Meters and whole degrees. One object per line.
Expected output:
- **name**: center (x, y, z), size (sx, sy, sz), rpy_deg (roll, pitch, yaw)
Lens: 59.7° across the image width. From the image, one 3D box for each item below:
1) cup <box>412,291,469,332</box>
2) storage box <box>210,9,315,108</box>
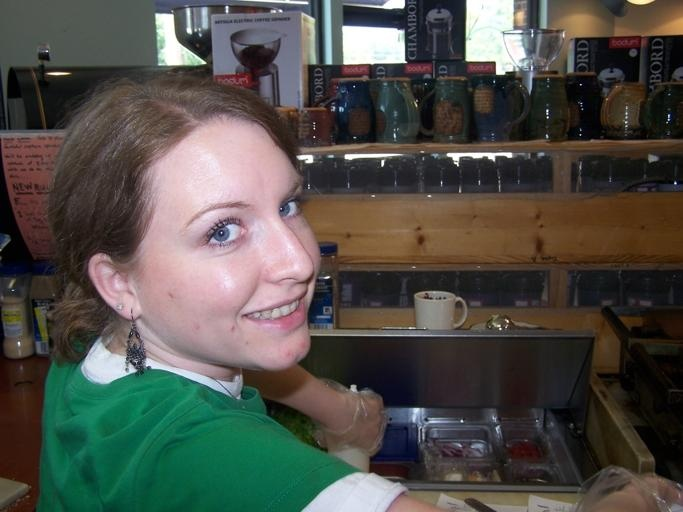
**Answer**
- **cup**: center (0.300, 0.168, 1.813), size (0.150, 0.104, 0.109), rpy_deg (1, 4, -6)
- **storage box**: center (-0.257, -0.669, 2.079), size (0.365, 0.501, 0.359), rpy_deg (0, 16, -5)
